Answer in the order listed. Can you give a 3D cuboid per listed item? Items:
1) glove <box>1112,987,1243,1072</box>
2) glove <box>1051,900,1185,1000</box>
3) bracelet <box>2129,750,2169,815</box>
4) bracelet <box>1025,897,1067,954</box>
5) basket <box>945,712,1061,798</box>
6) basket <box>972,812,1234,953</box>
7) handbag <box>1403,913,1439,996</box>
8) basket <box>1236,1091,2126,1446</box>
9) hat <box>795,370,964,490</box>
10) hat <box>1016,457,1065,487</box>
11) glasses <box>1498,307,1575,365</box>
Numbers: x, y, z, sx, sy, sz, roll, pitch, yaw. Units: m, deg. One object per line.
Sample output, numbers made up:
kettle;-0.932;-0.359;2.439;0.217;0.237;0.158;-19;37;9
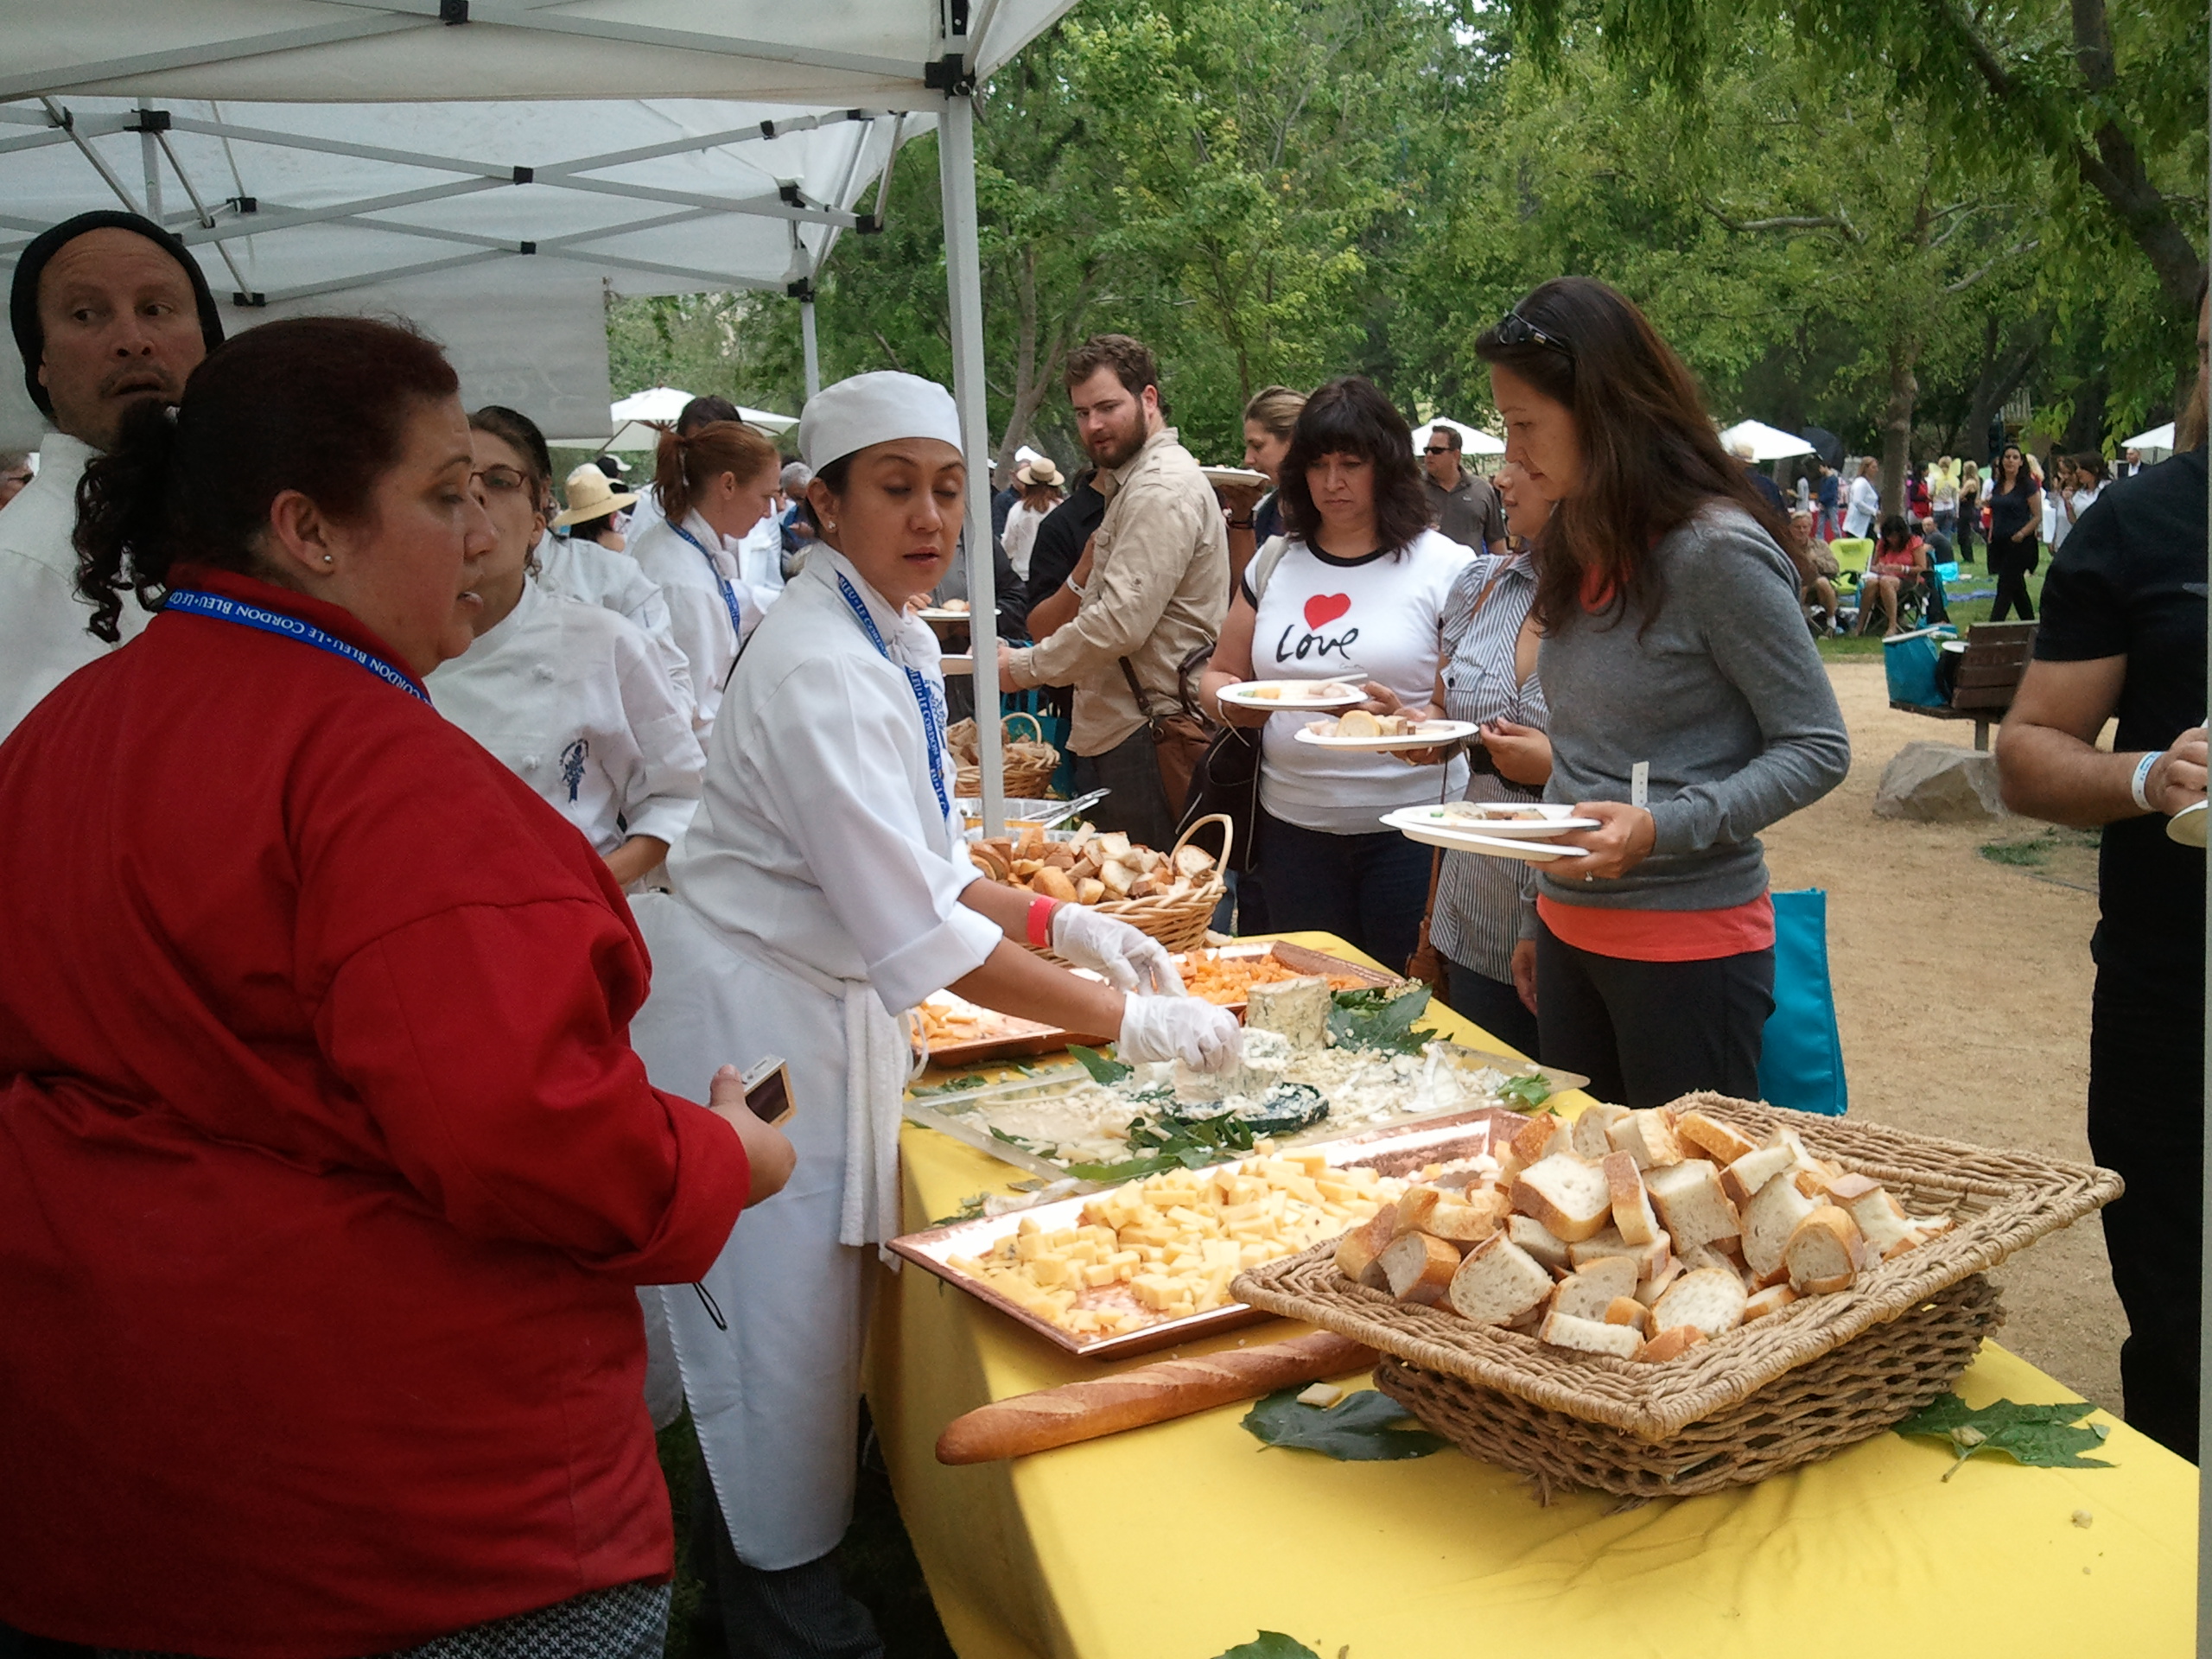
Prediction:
glove;0.133;0.357;2.859;0.179;0.079;0.134;4;7;-35
glove;0.010;0.236;3.123;0.198;0.079;0.187;5;5;39
bracelet;1.739;-0.075;2.681;0.023;0.093;0.097;8;23;36
bracelet;-0.126;0.191;3.187;0.078;0.090;0.100;0;-11;-6
basket;-0.352;-0.258;6.163;0.414;0.178;0.494;0;0;2
basket;-0.040;0.079;4.111;0.397;0.216;0.521;-6;6;-31
handbag;0.894;0.361;4.511;0.082;0.237;0.173;3;11;8
basket;0.689;0.570;2.087;1.000;0.187;0.710;-6;4;-38
hat;-0.442;-0.723;2.992;0.190;0.137;0.240;-17;8;-24
hat;-0.672;-3.350;14.976;0.446;0.136;0.448;12;21;-19
glasses;0.858;-0.986;3.168;0.124;0.063;0.093;24;20;-38
